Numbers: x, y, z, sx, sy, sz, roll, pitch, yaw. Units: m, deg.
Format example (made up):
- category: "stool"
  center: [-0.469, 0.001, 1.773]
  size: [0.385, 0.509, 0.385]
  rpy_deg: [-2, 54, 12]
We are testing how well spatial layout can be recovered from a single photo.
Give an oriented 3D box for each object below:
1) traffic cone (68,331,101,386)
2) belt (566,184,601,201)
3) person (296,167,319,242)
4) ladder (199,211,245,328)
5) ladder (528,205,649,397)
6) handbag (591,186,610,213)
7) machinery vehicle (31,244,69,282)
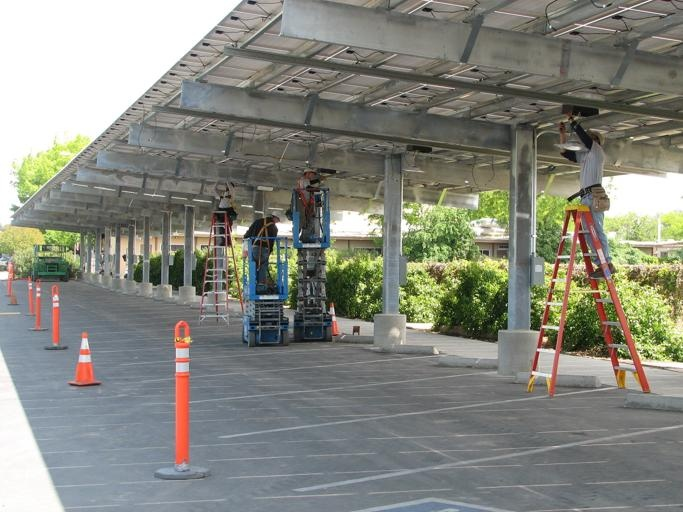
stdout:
- category: "traffic cone"
  center: [-4.672, 1.909, 15.513]
  size: [0.724, 1.014, 0.758]
  rpy_deg: [6, 6, -41]
- category: "belt"
  center: [4.365, -1.145, 15.089]
  size: [0.435, 0.101, 0.339]
  rpy_deg: [-24, -3, 6]
- category: "person"
  center: [-0.946, -1.361, 23.080]
  size: [0.574, 1.963, 0.777]
  rpy_deg: [2, -2, -4]
- category: "ladder"
  center: [-4.825, 0.633, 33.990]
  size: [1.217, 4.604, 1.202]
  rpy_deg: [3, 4, -38]
- category: "ladder"
  center: [4.365, 0.776, 15.124]
  size: [1.967, 3.226, 1.126]
  rpy_deg: [-4, 1, -17]
- category: "handbag"
  center: [4.621, -1.018, 14.915]
  size: [0.313, 0.460, 0.260]
  rpy_deg: [1, -2, 5]
- category: "machinery vehicle"
  center: [-24.920, 0.647, 73.456]
  size: [3.889, 3.674, 6.761]
  rpy_deg: [1, -3, -21]
